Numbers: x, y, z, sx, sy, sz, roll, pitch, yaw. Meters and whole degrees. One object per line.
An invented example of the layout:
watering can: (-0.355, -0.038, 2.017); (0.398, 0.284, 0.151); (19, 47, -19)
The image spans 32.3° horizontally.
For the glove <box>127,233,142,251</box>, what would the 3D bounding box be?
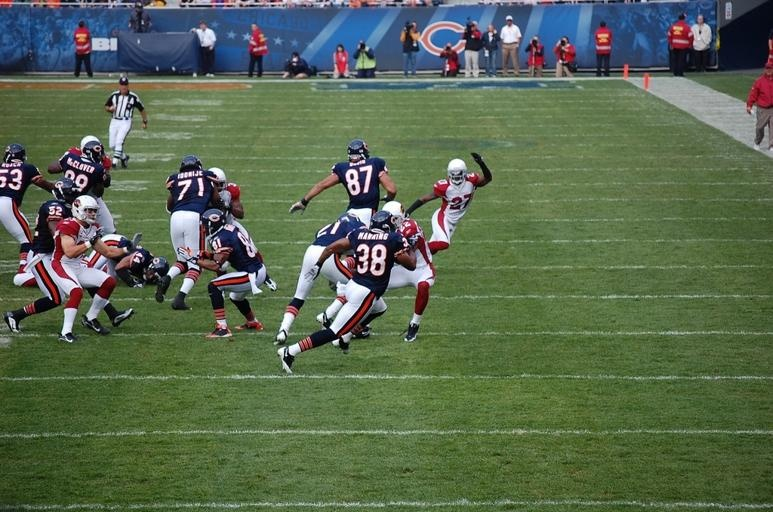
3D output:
glove: (-4.122, -0.229, 21.707); (0.101, 0.088, 0.322); (25, 59, 21)

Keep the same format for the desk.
desk: (-6.904, -6.110, 40.014); (2.372, 1.248, 0.911); (0, 12, -9)

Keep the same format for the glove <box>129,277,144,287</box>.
glove: (-4.109, 0.445, 21.883); (0.277, 0.107, 0.093); (3, 11, 37)

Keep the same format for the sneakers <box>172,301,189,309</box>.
sneakers: (-3.306, 0.786, 21.170); (0.243, 0.204, 0.106); (-6, 54, -21)

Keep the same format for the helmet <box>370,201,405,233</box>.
helmet: (0.012, -0.580, 19.701); (0.411, 0.360, 0.507); (-5, -10, 10)

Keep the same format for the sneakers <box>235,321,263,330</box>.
sneakers: (-2.136, 1.080, 20.660); (0.436, 0.150, 0.143); (3, 4, 3)

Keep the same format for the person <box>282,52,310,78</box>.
person: (-2.738, -5.808, 40.504); (0.883, 0.791, 0.626); (-1, 12, -14)

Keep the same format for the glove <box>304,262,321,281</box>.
glove: (-1.124, 0.227, 20.152); (0.206, 0.274, 0.100); (44, 13, -7)

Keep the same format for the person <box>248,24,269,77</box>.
person: (-3.911, -6.204, 40.273); (0.604, 1.594, 1.520); (1, 12, -6)

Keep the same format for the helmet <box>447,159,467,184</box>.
helmet: (1.157, -1.463, 22.234); (0.363, 0.319, 0.428); (2, 27, 7)

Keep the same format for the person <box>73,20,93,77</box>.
person: (-8.982, -6.108, 39.335); (0.510, 1.664, 1.458); (0, 12, -13)

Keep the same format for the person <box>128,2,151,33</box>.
person: (-7.343, -7.107, 39.769); (0.639, 0.848, 0.522); (-9, 16, -43)

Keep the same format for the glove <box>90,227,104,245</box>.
glove: (-4.407, -0.311, 20.167); (0.179, 0.253, 0.089); (27, -8, 12)

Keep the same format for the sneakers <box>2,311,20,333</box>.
sneakers: (-5.730, 1.000, 20.362); (0.199, 0.391, 0.153); (-15, 18, 5)

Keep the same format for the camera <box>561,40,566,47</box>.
camera: (5.167, -6.295, 39.189); (0.173, 0.179, 0.083); (2, 12, -3)

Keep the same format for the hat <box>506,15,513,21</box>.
hat: (3.568, -6.966, 38.959); (0.194, 0.130, 0.276); (-1, 3, 2)

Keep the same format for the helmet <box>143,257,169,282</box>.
helmet: (-3.726, 0.208, 21.381); (0.319, 0.290, 0.228); (21, -19, 28)

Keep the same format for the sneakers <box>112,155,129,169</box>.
sneakers: (-5.634, -1.992, 28.060); (0.193, 0.218, 0.513); (-9, -16, -4)

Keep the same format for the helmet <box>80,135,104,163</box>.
helmet: (-4.924, -1.809, 22.377); (0.389, 0.409, 0.483); (-11, 13, -37)

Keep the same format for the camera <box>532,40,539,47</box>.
camera: (4.356, -6.316, 39.370); (0.187, 0.242, 0.352); (3, 11, 4)
